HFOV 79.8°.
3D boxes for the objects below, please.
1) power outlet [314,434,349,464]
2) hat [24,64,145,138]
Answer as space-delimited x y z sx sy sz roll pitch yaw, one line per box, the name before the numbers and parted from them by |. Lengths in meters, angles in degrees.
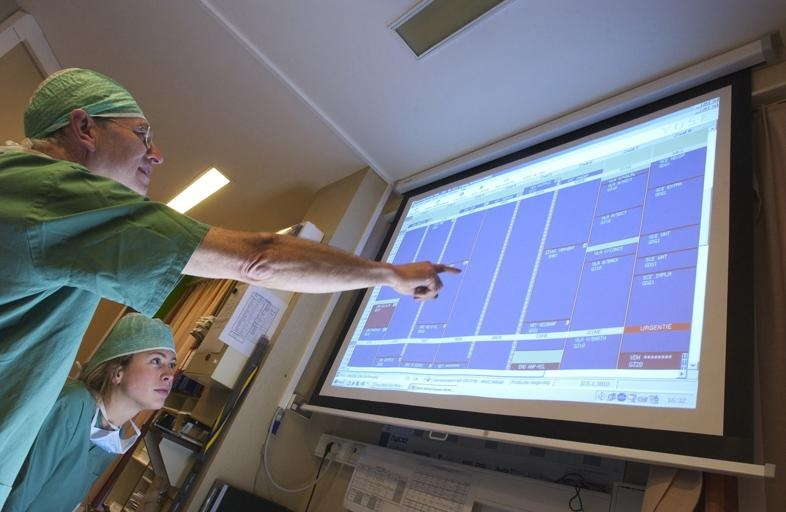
power outlet | -0.371 1.278 3.095 0.265 0.167 0.062 -6 -29 44
hat | -1.226 -0.598 1.907 0.377 0.213 0.302 2 -52 -44
